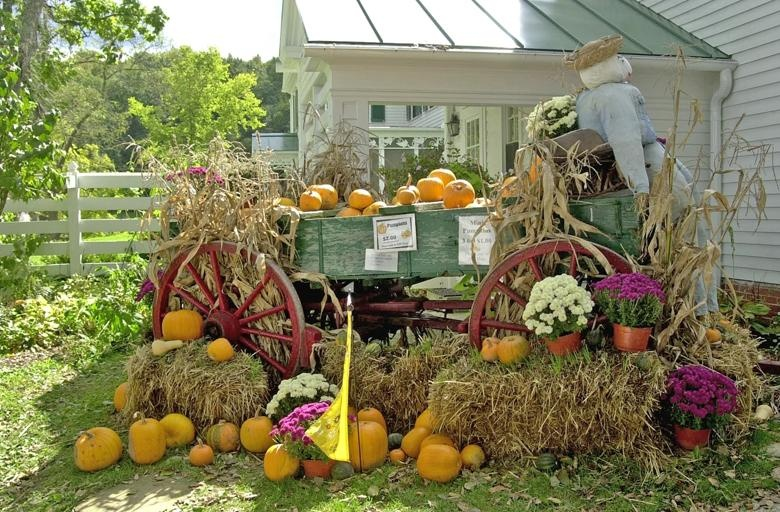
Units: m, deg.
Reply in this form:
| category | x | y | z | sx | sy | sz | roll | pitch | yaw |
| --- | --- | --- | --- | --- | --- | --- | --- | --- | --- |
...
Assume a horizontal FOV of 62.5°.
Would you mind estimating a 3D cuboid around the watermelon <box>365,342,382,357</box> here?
| category | x | y | z | sx | sy | sz | roll | pitch | yaw |
| --- | --- | --- | --- | --- | --- | --- | --- | --- | --- |
| watermelon | -0.142 | 0.820 | 5.656 | 0.091 | 0.097 | 0.119 | 6 | 4 | 0 |

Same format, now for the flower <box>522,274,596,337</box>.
| category | x | y | z | sx | sy | sz | roll | pitch | yaw |
| --- | --- | --- | --- | --- | --- | --- | --- | --- | --- |
| flower | 1.354 | 0.376 | 5.107 | 0.462 | 0.360 | 0.533 | -9 | 1 | 31 |

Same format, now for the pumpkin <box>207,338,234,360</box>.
| category | x | y | z | sx | sy | sz | roll | pitch | yaw |
| --- | --- | --- | --- | --- | --- | --- | --- | --- | --- |
| pumpkin | -1.464 | 0.814 | 5.572 | 0.176 | 0.193 | 0.176 | -4 | -4 | 2 |

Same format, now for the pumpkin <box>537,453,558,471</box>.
| category | x | y | z | sx | sy | sz | roll | pitch | yaw |
| --- | --- | --- | --- | --- | --- | --- | --- | --- | --- |
| pumpkin | 1.183 | 1.548 | 4.840 | 0.134 | 0.122 | 0.111 | -7 | -16 | 35 |

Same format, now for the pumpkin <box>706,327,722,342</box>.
| category | x | y | z | sx | sy | sz | roll | pitch | yaw |
| --- | --- | --- | --- | --- | --- | --- | --- | --- | --- |
| pumpkin | 2.656 | 0.651 | 5.280 | 0.107 | 0.112 | 0.110 | -5 | 9 | -17 |

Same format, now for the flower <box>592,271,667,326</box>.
| category | x | y | z | sx | sy | sz | roll | pitch | yaw |
| --- | --- | --- | --- | --- | --- | --- | --- | --- | --- |
| flower | 1.837 | 0.339 | 4.927 | 0.410 | 0.362 | 0.421 | 1 | -2 | -6 |

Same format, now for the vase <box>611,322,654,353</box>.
| category | x | y | z | sx | sy | sz | roll | pitch | yaw |
| --- | --- | --- | --- | --- | --- | --- | --- | --- | --- |
| vase | 1.855 | 0.611 | 4.906 | 0.222 | 0.147 | 0.229 | 1 | 0 | 0 |

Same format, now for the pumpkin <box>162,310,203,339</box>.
| category | x | y | z | sx | sy | sz | roll | pitch | yaw |
| --- | --- | --- | --- | --- | --- | --- | --- | --- | --- |
| pumpkin | -1.851 | 0.634 | 5.782 | 0.273 | 0.276 | 0.275 | -4 | -10 | 14 |

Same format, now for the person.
| category | x | y | z | sx | sy | sz | roll | pitch | yaw |
| --- | --- | --- | --- | --- | --- | --- | --- | --- | --- |
| person | 2.160 | -0.703 | 5.563 | 1.101 | 2.430 | 0.856 | -1 | 3 | -6 |

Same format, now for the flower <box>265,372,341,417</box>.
| category | x | y | z | sx | sy | sz | roll | pitch | yaw |
| --- | --- | --- | --- | --- | --- | --- | --- | --- | --- |
| flower | -0.738 | 1.137 | 5.314 | 0.411 | 0.251 | 0.391 | -8 | -3 | -42 |

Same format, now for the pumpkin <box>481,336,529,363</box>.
| category | x | y | z | sx | sy | sz | roll | pitch | yaw |
| --- | --- | --- | --- | --- | --- | --- | --- | --- | --- |
| pumpkin | 0.905 | 0.754 | 5.126 | 0.278 | 0.136 | 0.216 | -8 | -7 | 42 |

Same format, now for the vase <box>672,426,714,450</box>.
| category | x | y | z | sx | sy | sz | roll | pitch | yaw |
| --- | --- | --- | --- | --- | --- | --- | --- | --- | --- |
| vase | 2.299 | 1.375 | 4.883 | 0.201 | 0.143 | 0.196 | -2 | -3 | 22 |

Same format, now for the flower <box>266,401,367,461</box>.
| category | x | y | z | sx | sy | sz | roll | pitch | yaw |
| --- | --- | --- | --- | --- | --- | --- | --- | --- | --- |
| flower | -0.688 | 1.362 | 4.962 | 0.451 | 0.408 | 0.264 | -1 | 3 | -8 |

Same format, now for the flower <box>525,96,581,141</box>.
| category | x | y | z | sx | sy | sz | roll | pitch | yaw |
| --- | --- | --- | --- | --- | --- | --- | --- | --- | --- |
| flower | 1.525 | -1.290 | 6.028 | 0.523 | 0.317 | 0.494 | -18 | 8 | -35 |

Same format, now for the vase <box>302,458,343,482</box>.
| category | x | y | z | sx | sy | sz | roll | pitch | yaw |
| --- | --- | --- | --- | --- | --- | --- | --- | --- | --- |
| vase | -0.536 | 1.640 | 4.976 | 0.184 | 0.096 | 0.183 | 7 | -9 | -38 |
